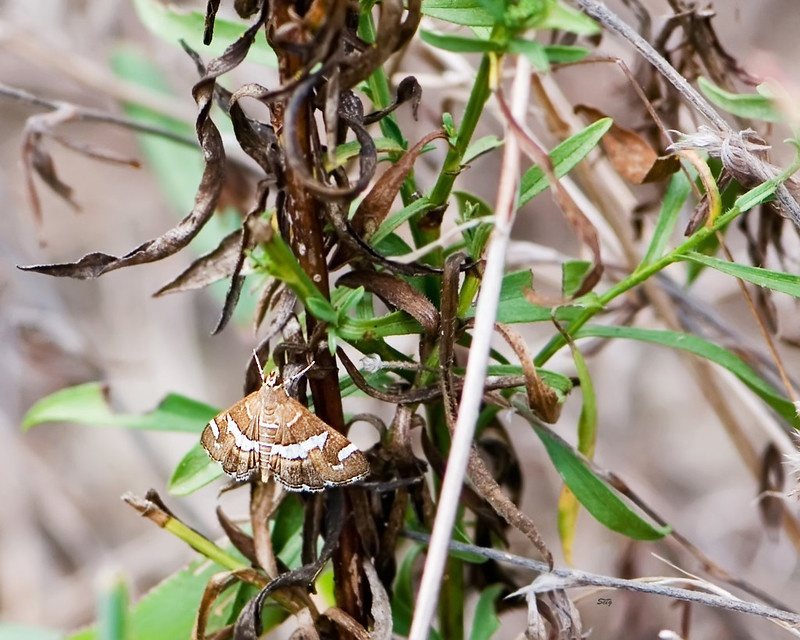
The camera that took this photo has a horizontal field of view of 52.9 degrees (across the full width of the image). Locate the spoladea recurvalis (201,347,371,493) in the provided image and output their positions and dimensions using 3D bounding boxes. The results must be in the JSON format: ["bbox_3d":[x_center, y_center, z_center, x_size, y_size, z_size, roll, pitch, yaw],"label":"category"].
[{"bbox_3d":[-0.116,0.097,0.725,0.152,0.122,0.043,14,-30,-24],"label":"spoladea recurvalis"}]
